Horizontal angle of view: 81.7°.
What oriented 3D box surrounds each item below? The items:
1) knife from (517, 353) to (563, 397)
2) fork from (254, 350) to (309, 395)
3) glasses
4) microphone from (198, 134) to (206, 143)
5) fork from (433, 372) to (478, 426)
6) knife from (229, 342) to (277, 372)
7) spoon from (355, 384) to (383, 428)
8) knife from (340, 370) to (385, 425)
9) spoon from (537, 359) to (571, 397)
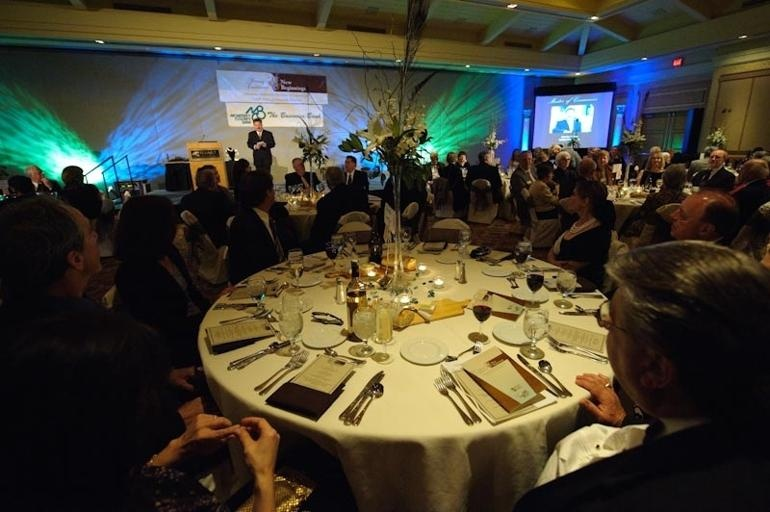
[{"bbox_3d":[0.647,0.479,1.921,0.049,0.017,0.340,0,21,-16],"label":"knife"},{"bbox_3d":[-0.438,0.507,1.934,0.079,0.041,0.302,23,31,21],"label":"fork"},{"bbox_3d":[0.742,0.230,1.409,0.056,0.172,0.165,-31,8,27],"label":"glasses"},{"bbox_3d":[-3.570,-2.329,8.790,0.136,0.180,0.109,-4,11,-37],"label":"microphone"},{"bbox_3d":[0.292,0.580,1.786,0.074,0.035,0.254,-16,38,-9],"label":"fork"},{"bbox_3d":[-0.596,0.450,2.011,0.072,0.017,0.222,19,26,30],"label":"knife"},{"bbox_3d":[-0.056,0.576,1.759,0.050,0.029,0.205,10,37,23],"label":"spoon"},{"bbox_3d":[-0.082,0.564,1.787,0.074,0.030,0.267,15,36,22],"label":"knife"},{"bbox_3d":[0.706,0.514,1.883,0.045,0.026,0.181,-11,27,0],"label":"spoon"}]
